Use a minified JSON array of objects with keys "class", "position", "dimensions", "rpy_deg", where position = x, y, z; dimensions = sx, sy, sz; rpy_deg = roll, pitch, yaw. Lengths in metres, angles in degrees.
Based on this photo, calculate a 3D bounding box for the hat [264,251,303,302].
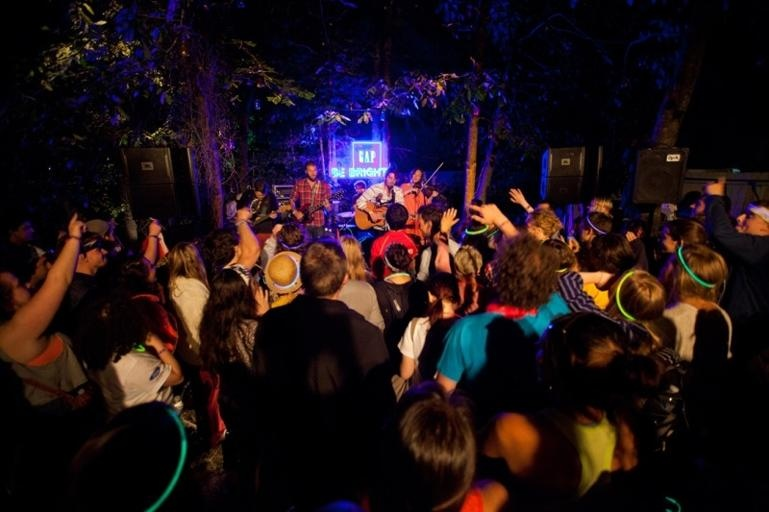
[{"class":"hat","position":[-1.111,0.265,5.933],"dimensions":[0.532,0.580,0.205],"rpy_deg":[7,-1,13]}]

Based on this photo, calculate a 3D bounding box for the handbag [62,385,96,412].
[{"class":"handbag","position":[-3.115,1.438,5.410],"dimensions":[0.267,0.244,0.064],"rpy_deg":[-5,14,-28]}]

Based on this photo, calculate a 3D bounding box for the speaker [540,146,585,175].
[{"class":"speaker","position":[3.007,-1.585,8.886],"dimensions":[0.508,0.397,0.520],"rpy_deg":[4,10,13]}]

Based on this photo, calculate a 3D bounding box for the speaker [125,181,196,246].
[{"class":"speaker","position":[-3.457,-0.646,8.049],"dimensions":[0.850,1.578,0.829],"rpy_deg":[-3,8,-23]}]
